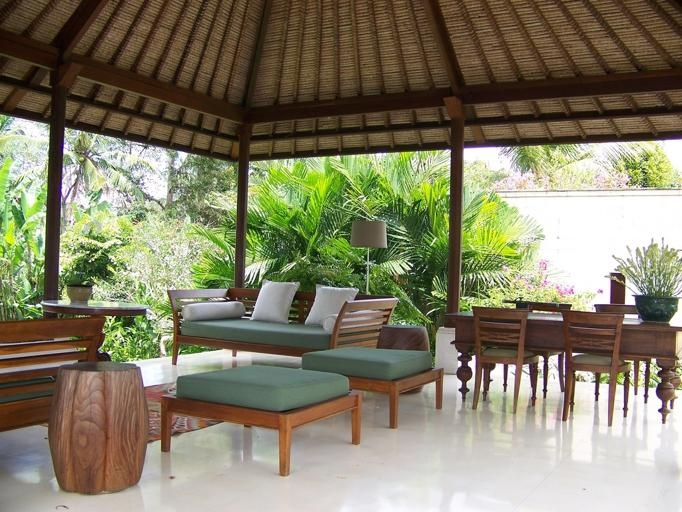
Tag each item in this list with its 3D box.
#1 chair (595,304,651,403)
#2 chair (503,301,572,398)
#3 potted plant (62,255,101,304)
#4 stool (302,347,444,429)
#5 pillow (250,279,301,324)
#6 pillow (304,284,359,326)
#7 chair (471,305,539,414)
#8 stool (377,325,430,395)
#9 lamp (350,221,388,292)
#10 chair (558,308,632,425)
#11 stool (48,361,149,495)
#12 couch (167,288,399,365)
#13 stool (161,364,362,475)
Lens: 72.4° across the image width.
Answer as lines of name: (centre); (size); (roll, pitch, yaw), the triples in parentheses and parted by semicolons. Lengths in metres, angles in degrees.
chair: (2.754, 0.893, 4.926); (0.723, 1.183, 0.816); (-1, -5, 35)
chair: (2.208, 0.907, 5.062); (0.658, 1.155, 0.784); (0, -3, 29)
potted plant: (-5.326, 0.442, 9.521); (0.813, 1.095, 0.751); (4, 1, 37)
stool: (0.247, 0.974, 4.123); (1.039, 0.593, 0.940); (4, 1, 27)
pillow: (-0.844, 0.612, 6.064); (0.576, 0.516, 0.165); (10, -20, 30)
pillow: (-0.186, 0.581, 5.669); (0.596, 0.456, 0.459); (5, 3, 44)
chair: (1.587, 0.879, 4.526); (0.662, 1.046, 0.725); (-1, -5, 33)
stool: (0.686, 1.064, 5.071); (0.489, 0.700, 0.521); (5, 2, 24)
lamp: (0.402, -0.233, 6.384); (0.482, 1.108, 0.504); (3, -4, -39)
chair: (2.294, 0.847, 4.200); (0.637, 1.032, 0.698); (7, 1, 32)
stool: (-1.315, 0.905, 2.605); (0.497, 0.656, 0.472); (8, 2, 35)
couch: (-0.407, 0.933, 6.074); (3.297, 0.904, 1.437); (5, 2, 24)
stool: (-0.561, 0.992, 3.391); (1.159, 0.559, 1.134); (0, -3, 27)
